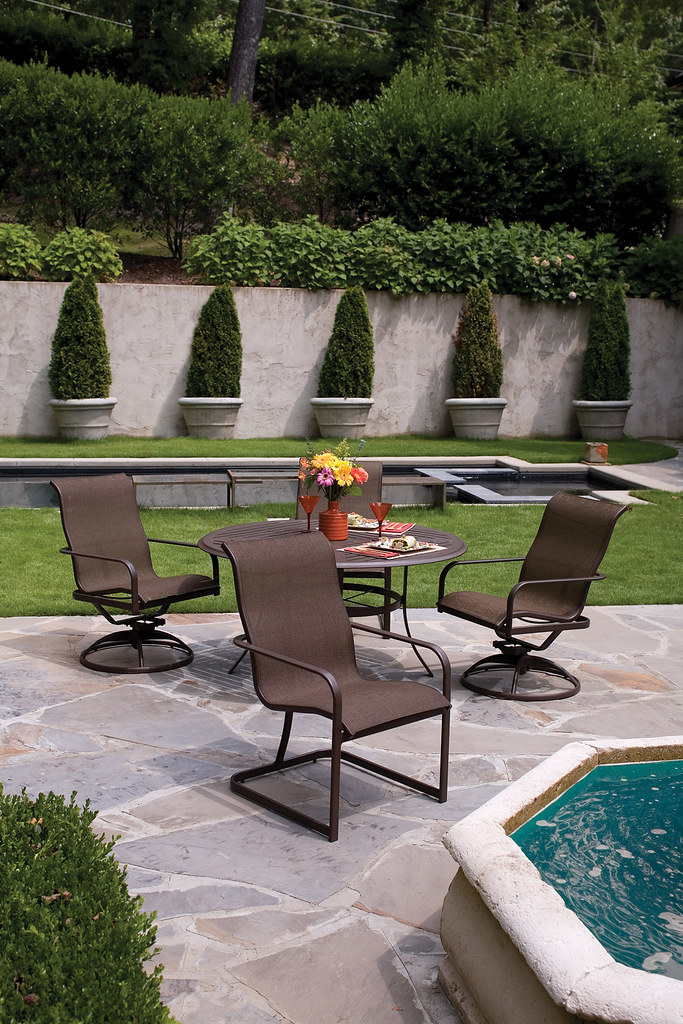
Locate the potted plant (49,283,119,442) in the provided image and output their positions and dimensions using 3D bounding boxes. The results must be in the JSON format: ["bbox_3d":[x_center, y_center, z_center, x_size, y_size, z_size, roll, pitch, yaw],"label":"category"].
[{"bbox_3d":[-3.391,-1.963,13.919,0.824,2.076,0.551,-2,18,-14],"label":"potted plant"}]

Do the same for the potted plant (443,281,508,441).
[{"bbox_3d":[1.969,-2.158,15.495,0.851,2.208,0.692,4,17,4],"label":"potted plant"}]

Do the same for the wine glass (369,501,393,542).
[{"bbox_3d":[0.203,0.025,5.655,0.156,0.193,0.171,1,-9,0],"label":"wine glass"}]

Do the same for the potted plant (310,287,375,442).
[{"bbox_3d":[0.016,-2.055,14.937,0.865,2.130,0.720,2,17,-1],"label":"potted plant"}]

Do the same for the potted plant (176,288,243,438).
[{"bbox_3d":[-1.792,-2.026,14.585,0.840,2.069,0.637,0,17,-9],"label":"potted plant"}]

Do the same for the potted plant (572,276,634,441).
[{"bbox_3d":[3.998,-2.272,16.196,0.831,2.383,0.697,6,17,12],"label":"potted plant"}]
